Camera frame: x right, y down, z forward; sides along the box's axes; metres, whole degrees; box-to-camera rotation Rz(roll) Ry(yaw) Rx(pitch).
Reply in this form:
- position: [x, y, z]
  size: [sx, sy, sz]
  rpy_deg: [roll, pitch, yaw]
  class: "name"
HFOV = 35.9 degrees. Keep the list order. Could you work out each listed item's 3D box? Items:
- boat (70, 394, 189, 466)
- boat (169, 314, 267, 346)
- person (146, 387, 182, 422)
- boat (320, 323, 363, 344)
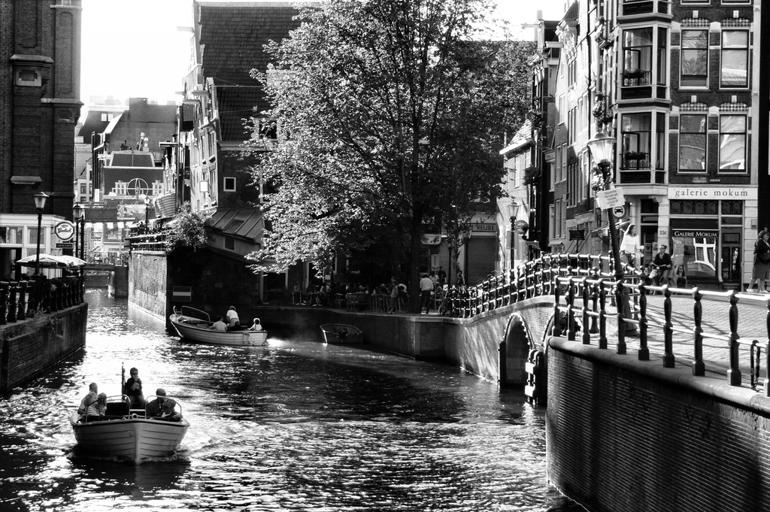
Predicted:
- position: [-7.747, 5.289, 36.233]
  size: [3.203, 1.744, 1.557]
  rpy_deg: [1, 4, 18]
  class: "boat"
- position: [-9.612, 4.389, 66.400]
  size: [6.186, 1.536, 2.197]
  rpy_deg: [9, -4, 29]
  class: "boat"
- position: [-6.852, 4.691, 36.796]
  size: [1.129, 1.003, 0.826]
  rpy_deg: [-2, -2, 21]
  class: "person"
- position: [-2.468, 4.395, 66.834]
  size: [2.276, 1.064, 1.302]
  rpy_deg: [1, 4, 10]
  class: "boat"
